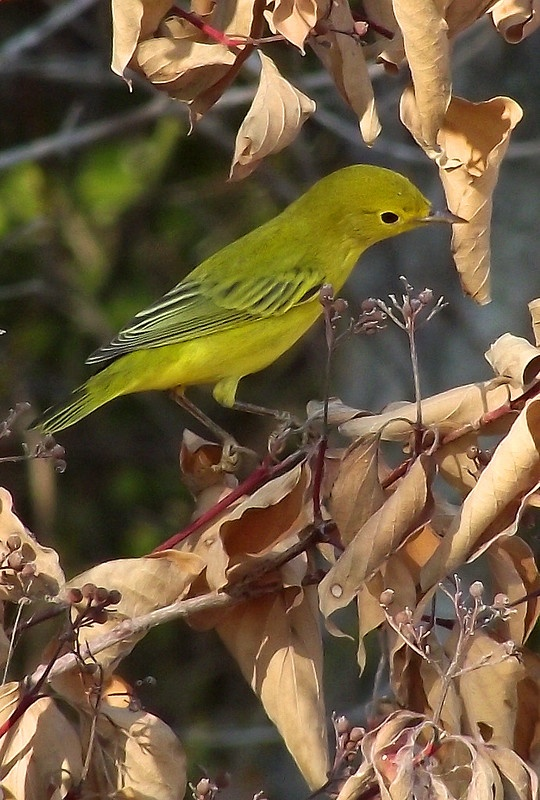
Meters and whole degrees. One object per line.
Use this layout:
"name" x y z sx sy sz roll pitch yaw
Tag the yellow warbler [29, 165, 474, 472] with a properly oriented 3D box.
"yellow warbler" -0.108 -0.285 2.686 1.299 0.789 0.442 -3 11 3
